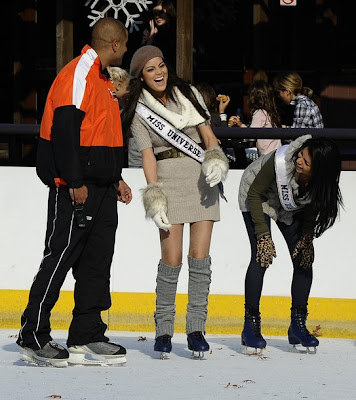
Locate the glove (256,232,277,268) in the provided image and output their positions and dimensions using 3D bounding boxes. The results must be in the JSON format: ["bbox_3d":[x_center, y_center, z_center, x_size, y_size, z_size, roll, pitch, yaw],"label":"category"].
[{"bbox_3d":[0.542,0.317,4.869,0.117,0.223,0.101,2,4,7],"label":"glove"}]

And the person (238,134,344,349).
[{"bbox_3d":[0.668,0.288,4.894,0.663,1.382,0.494,2,4,13],"label":"person"}]

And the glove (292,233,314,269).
[{"bbox_3d":[0.801,0.318,4.921,0.140,0.208,0.053,0,-3,-11],"label":"glove"}]

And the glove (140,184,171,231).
[{"bbox_3d":[-0.132,0.040,4.723,0.184,0.266,0.113,-15,-24,0],"label":"glove"}]

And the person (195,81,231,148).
[{"bbox_3d":[0.288,-0.709,6.924,0.333,0.244,0.881,-8,-36,0],"label":"person"}]

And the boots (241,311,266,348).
[{"bbox_3d":[0.467,0.834,4.885,0.138,0.251,0.237,1,4,2],"label":"boots"}]

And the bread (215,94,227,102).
[{"bbox_3d":[0.418,-0.960,7.373,0.071,0.044,0.100,-6,-3,37],"label":"bread"}]

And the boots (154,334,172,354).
[{"bbox_3d":[-0.093,0.886,4.770,0.105,0.158,0.222,1,4,-2],"label":"boots"}]

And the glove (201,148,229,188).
[{"bbox_3d":[0.223,-0.205,4.767,0.147,0.230,0.073,-4,-16,-1],"label":"glove"}]

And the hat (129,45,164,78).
[{"bbox_3d":[-0.200,-0.846,4.796,0.204,0.198,0.137,2,4,8],"label":"hat"}]

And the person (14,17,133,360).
[{"bbox_3d":[-0.556,-0.046,4.464,0.398,2.009,0.606,4,4,37],"label":"person"}]
